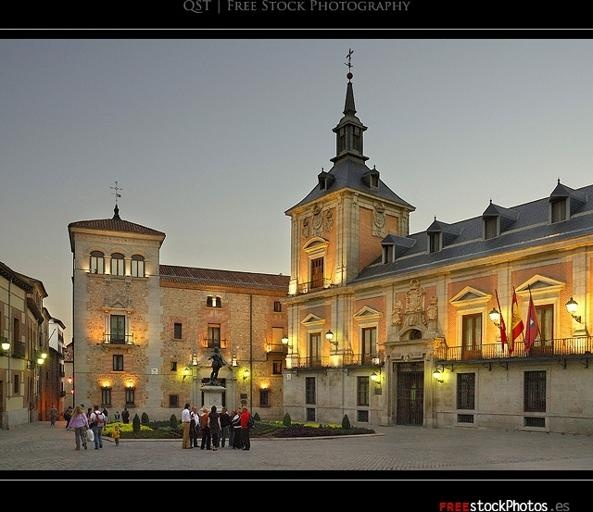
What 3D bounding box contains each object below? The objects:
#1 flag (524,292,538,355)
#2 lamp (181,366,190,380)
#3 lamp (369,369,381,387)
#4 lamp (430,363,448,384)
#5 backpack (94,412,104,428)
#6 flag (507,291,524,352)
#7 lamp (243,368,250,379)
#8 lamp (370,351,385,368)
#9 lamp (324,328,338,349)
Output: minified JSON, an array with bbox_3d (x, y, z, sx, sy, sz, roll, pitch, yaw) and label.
[{"bbox_3d":[9.229,2.504,41.624,0.602,2.410,1.747,-3,-11,11],"label":"flag"},{"bbox_3d":[-6.718,6.988,62.975,0.205,0.700,0.712,-7,-12,24],"label":"lamp"},{"bbox_3d":[3.745,5.883,50.417,0.325,0.796,0.879,2,-12,-16],"label":"lamp"},{"bbox_3d":[6.263,5.203,46.414,0.298,0.843,1.004,5,-13,-28],"label":"lamp"},{"bbox_3d":[-6.587,5.516,35.339,0.304,0.425,0.421,5,-45,-15],"label":"backpack"},{"bbox_3d":[8.735,2.438,42.183,0.607,2.586,1.757,-3,-11,11],"label":"flag"},{"bbox_3d":[-3.181,7.369,65.546,0.484,0.656,0.151,8,-14,-39],"label":"lamp"},{"bbox_3d":[3.892,5.005,50.638,0.751,0.754,0.595,-2,-10,4],"label":"lamp"},{"bbox_3d":[1.694,4.226,53.958,0.970,1.233,0.579,8,-14,-34],"label":"lamp"}]
